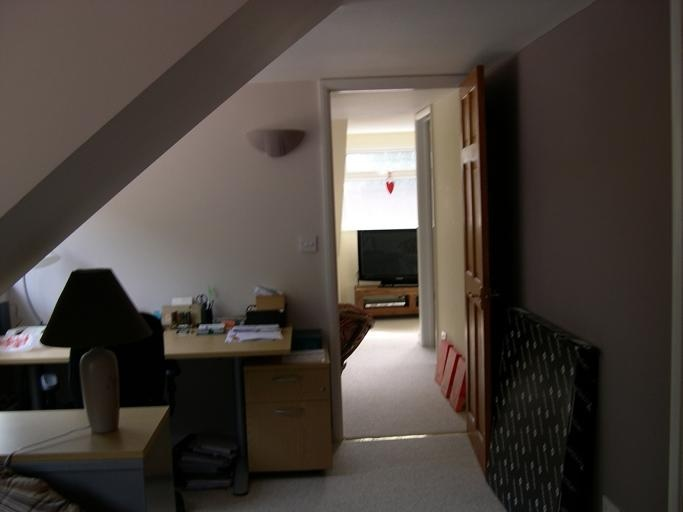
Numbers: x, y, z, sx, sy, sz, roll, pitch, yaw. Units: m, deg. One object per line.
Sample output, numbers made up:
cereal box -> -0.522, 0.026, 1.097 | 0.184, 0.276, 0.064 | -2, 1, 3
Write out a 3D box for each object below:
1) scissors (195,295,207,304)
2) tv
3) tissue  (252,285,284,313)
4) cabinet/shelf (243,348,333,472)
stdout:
scissors -> -0.927, 0.279, 3.549 | 0.054, 0.072, 0.035 | 7, 0, -11
tv -> 0.592, 0.005, 6.689 | 0.602, 0.498, 0.196 | 0, 6, 0
tissue  -> -0.464, 0.268, 3.475 | 0.145, 0.105, 0.156 | 1, 5, -3
cabinet/shelf -> -0.287, 0.933, 3.421 | 0.515, 0.838, 0.601 | -1, 0, 0
